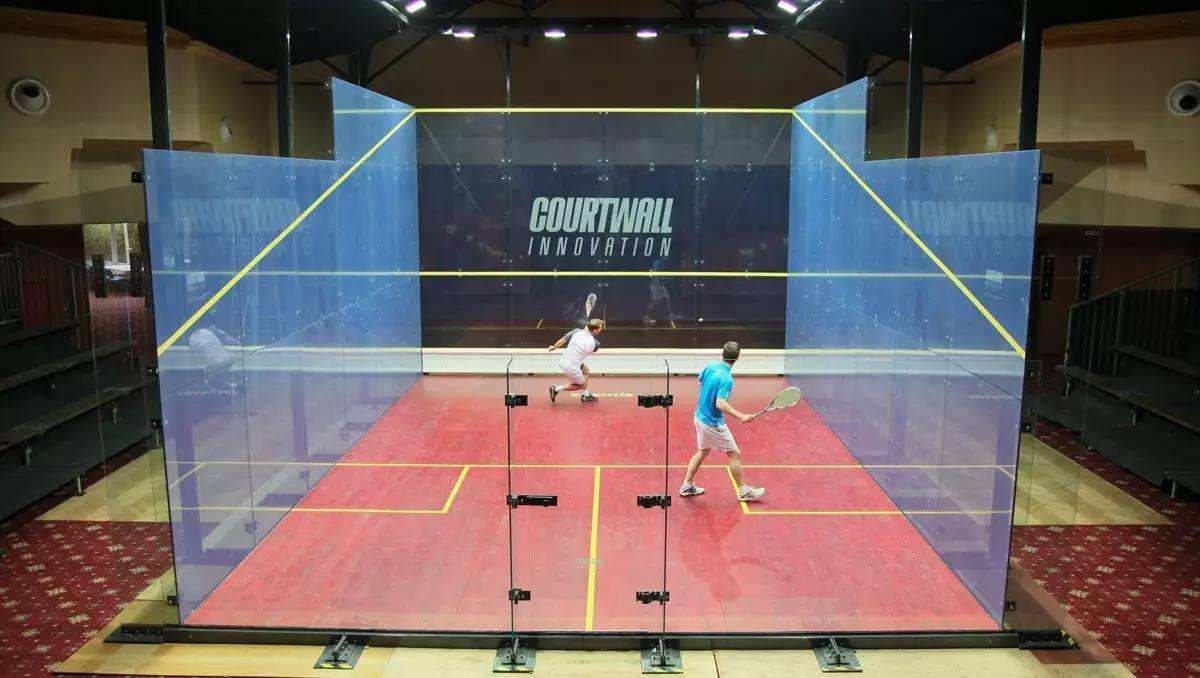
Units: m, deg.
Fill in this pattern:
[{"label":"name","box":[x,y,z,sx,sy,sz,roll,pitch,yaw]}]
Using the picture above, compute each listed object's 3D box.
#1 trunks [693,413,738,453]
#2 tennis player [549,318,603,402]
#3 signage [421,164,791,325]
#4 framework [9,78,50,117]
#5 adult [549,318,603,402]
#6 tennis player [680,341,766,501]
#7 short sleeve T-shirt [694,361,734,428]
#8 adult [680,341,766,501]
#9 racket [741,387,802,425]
[{"label":"trunks","box":[1.433,1.202,10.393,0.590,0.524,0.347,12,23,43]},{"label":"tennis player","box":[-0.440,0.338,12.827,0.989,1.313,0.808,-10,21,-32]},{"label":"signage","box":[0.062,-1.740,14.408,6.412,2.747,0.047,1,6,11]},{"label":"framework","box":[-7.432,-3.168,10.803,0.473,0.440,0.431,-2,2,-35]},{"label":"adult","box":[-0.427,0.345,12.806,0.999,1.294,0.784,-8,20,-30]},{"label":"tennis player","box":[1.716,1.202,11.422,0.899,1.727,1.178,-15,39,-21]},{"label":"short sleeve T-shirt","box":[1.405,0.685,10.223,0.455,0.786,0.310,6,4,26]},{"label":"adult","box":[1.716,1.202,11.422,0.899,1.727,1.178,-15,39,-21]},{"label":"racket","box":[2.492,0.996,11.947,0.978,0.288,0.108,-31,33,11]}]
